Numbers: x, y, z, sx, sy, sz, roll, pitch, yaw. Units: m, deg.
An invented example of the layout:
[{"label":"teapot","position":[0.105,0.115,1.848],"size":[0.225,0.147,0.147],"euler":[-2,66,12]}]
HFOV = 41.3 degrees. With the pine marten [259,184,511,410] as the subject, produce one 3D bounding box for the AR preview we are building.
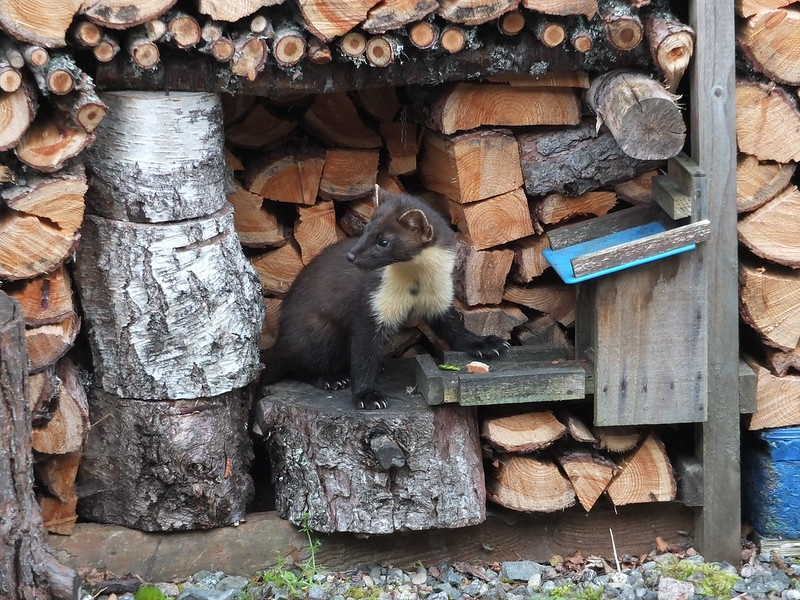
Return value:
[{"label":"pine marten","position":[-0.145,-0.011,7.593],"size":[1.692,1.251,1.102],"euler":[0,6,37]}]
